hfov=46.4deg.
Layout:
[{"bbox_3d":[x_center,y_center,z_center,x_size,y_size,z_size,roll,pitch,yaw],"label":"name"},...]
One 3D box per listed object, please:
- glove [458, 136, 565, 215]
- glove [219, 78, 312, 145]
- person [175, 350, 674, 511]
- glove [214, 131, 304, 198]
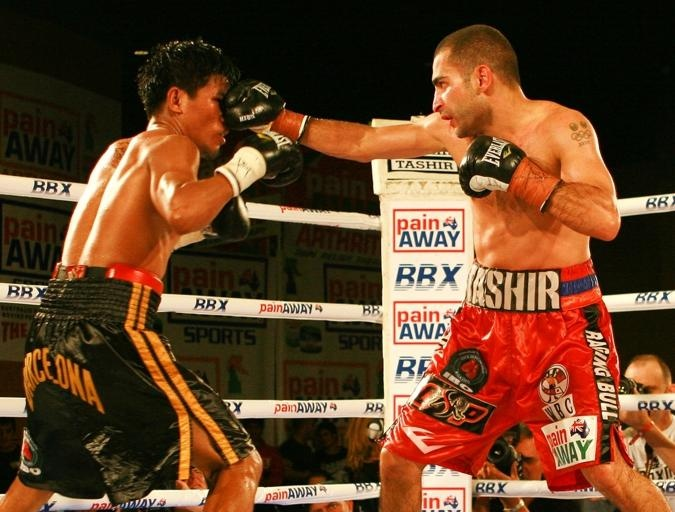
[{"bbox_3d":[0.613,-0.300,2.916,0.371,0.234,0.133,26,-15,36],"label":"glove"},{"bbox_3d":[-0.314,-0.570,3.176,0.385,0.238,0.152,7,-23,-29],"label":"glove"},{"bbox_3d":[0.515,0.745,4.100,4.055,0.578,0.266,-2,4,21],"label":"person"},{"bbox_3d":[-0.268,-0.323,2.911,0.254,0.140,0.347,26,37,37],"label":"glove"}]
